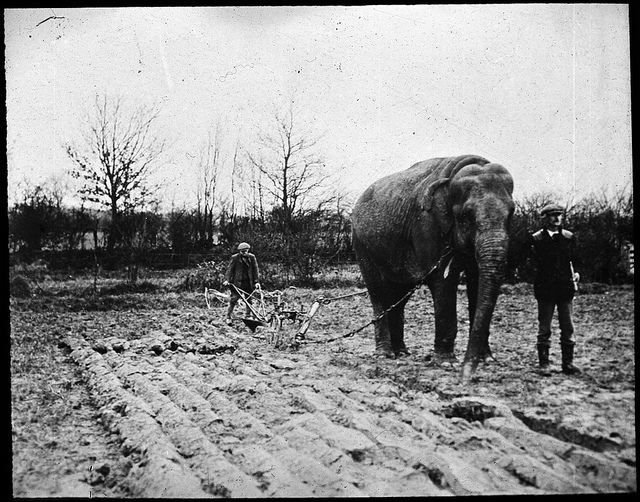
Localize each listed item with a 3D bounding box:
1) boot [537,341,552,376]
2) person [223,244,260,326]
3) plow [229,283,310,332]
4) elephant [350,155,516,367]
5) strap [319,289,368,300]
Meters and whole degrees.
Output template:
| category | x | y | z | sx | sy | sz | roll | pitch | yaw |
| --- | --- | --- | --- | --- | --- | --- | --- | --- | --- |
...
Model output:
| category | x | y | z | sx | sy | sz | roll | pitch | yaw |
| --- | --- | --- | --- | --- | --- | --- | --- | --- | --- |
| boot | 2.720 | 1.279 | 7.126 | 0.163 | 0.396 | 0.288 | 0 | -2 | 21 |
| person | -1.408 | 0.586 | 10.617 | 0.605 | 1.477 | 1.361 | 1 | -2 | -9 |
| plow | -0.876 | 0.963 | 9.740 | 1.324 | 0.740 | 0.684 | 9 | 1 | 39 |
| elephant | 1.516 | 0.162 | 8.421 | 1.273 | 2.931 | 3.116 | 1 | -3 | -27 |
| strap | 0.494 | 0.838 | 11.380 | 0.757 | 0.105 | 0.150 | -16 | 2 | 0 |
